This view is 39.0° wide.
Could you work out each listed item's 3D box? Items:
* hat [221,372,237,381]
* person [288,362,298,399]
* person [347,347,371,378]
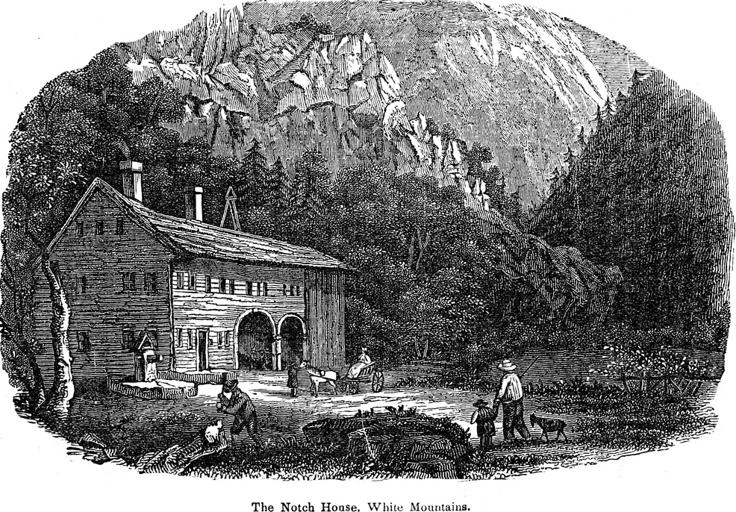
[{"bbox_3d":[-4.179,3.658,31.289,0.119,0.254,0.519,-4,-7,43],"label":"hat"},{"bbox_3d":[-2.263,3.739,31.055,0.309,1.025,0.605,1,-7,-5],"label":"person"},{"bbox_3d":[-0.294,3.315,31.639,0.752,0.900,0.527,1,-7,-8],"label":"person"}]
